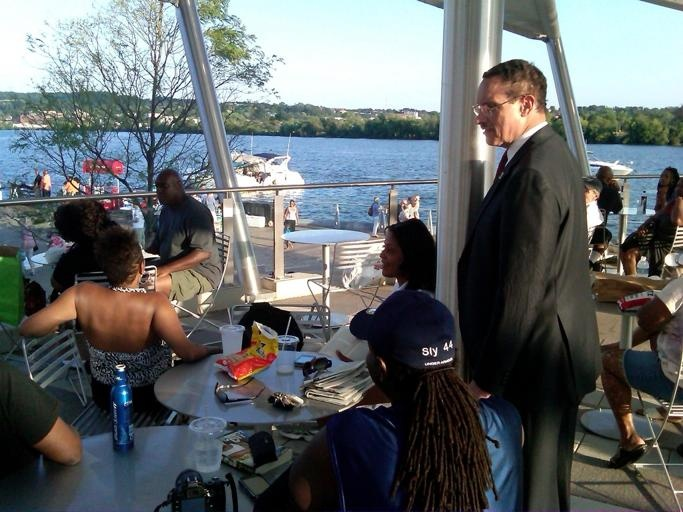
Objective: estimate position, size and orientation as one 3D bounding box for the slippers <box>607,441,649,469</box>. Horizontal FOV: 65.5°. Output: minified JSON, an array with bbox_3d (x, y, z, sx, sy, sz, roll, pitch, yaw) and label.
[{"bbox_3d":[1.649,1.136,3.052,0.170,0.076,0.063,-38,14,19],"label":"slippers"}]

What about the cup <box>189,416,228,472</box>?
[{"bbox_3d":[-0.491,0.659,1.831,0.192,0.169,0.190,-6,-20,-2],"label":"cup"}]

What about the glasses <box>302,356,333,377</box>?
[{"bbox_3d":[-0.127,0.525,2.566,0.069,0.055,0.116,-5,7,37],"label":"glasses"}]

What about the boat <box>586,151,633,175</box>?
[{"bbox_3d":[4.496,-1.542,8.860,0.323,0.278,1.042,-4,23,-14],"label":"boat"}]

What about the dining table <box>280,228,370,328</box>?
[{"bbox_3d":[-0.139,0.219,5.242,0.722,0.750,0.715,1,6,2],"label":"dining table"}]

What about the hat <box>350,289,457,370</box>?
[{"bbox_3d":[0.165,0.216,1.453,0.236,0.123,0.175,30,34,35],"label":"hat"}]

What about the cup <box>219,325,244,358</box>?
[{"bbox_3d":[-0.596,0.432,2.770,0.136,0.141,0.136,3,11,0],"label":"cup"}]

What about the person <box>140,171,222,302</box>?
[{"bbox_3d":[-1.614,-0.056,5.093,0.907,1.388,0.792,0,6,-35],"label":"person"}]

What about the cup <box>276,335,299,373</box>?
[{"bbox_3d":[-0.290,0.513,2.819,0.120,0.159,0.127,1,20,0],"label":"cup"}]

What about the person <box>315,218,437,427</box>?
[{"bbox_3d":[0.159,0.403,3.024,0.720,1.189,0.500,7,13,-1],"label":"person"}]

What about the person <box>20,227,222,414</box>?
[{"bbox_3d":[-1.101,0.491,2.972,0.847,1.275,0.879,6,15,14],"label":"person"}]
